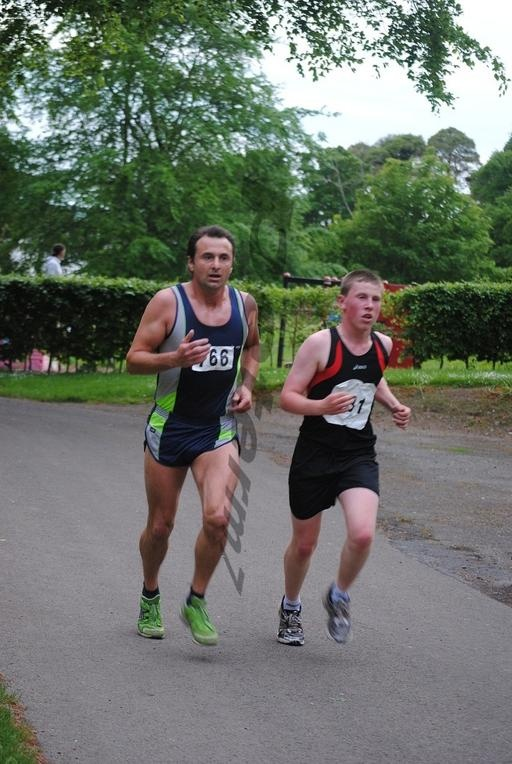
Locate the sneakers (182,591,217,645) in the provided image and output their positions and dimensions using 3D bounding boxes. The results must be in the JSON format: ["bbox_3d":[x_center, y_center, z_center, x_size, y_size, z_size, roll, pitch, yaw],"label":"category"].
[{"bbox_3d":[-0.298,1.034,3.231,0.105,0.131,0.300,-3,5,-27],"label":"sneakers"}]

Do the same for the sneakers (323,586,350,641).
[{"bbox_3d":[0.356,1.046,3.267,0.096,0.264,0.125,-5,-15,-7],"label":"sneakers"}]

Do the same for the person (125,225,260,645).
[{"bbox_3d":[-0.304,0.240,3.339,0.535,1.901,0.745,4,0,11],"label":"person"}]

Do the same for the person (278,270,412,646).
[{"bbox_3d":[0.339,0.349,3.392,0.473,1.747,0.556,4,0,10],"label":"person"}]
